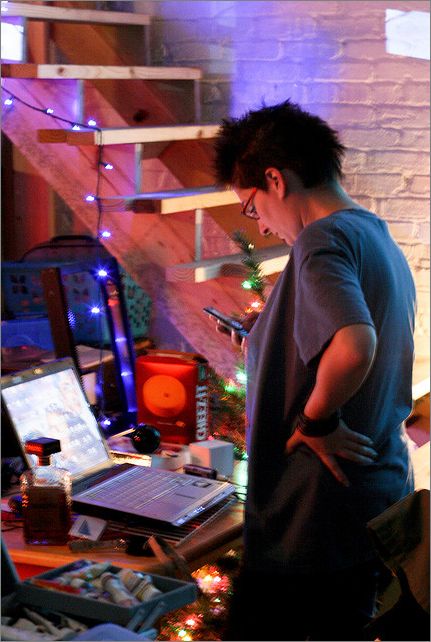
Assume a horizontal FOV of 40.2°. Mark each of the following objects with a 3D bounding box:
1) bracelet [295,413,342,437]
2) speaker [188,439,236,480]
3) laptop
[{"bbox_3d":[0.184,0.182,1.041,0.059,0.026,0.046,0,-2,30],"label":"bracelet"},{"bbox_3d":[0.000,0.359,1.564,0.104,0.096,0.107,0,5,19],"label":"speaker"},{"bbox_3d":[-0.230,0.248,1.395,0.477,0.282,0.324,7,14,25],"label":"laptop"}]
